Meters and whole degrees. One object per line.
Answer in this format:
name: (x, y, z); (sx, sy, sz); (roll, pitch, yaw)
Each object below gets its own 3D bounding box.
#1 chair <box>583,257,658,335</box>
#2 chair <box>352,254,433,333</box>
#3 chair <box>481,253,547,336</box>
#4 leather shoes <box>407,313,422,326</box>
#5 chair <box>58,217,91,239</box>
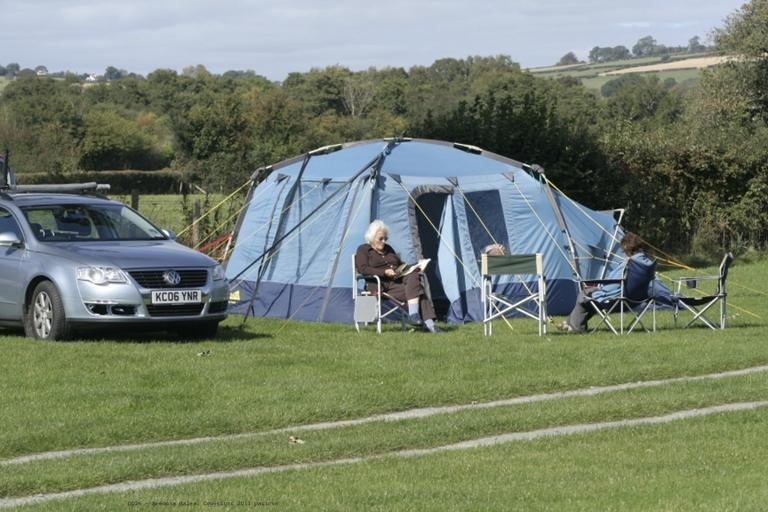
chair: (4.716, 0.819, 29.230); (1.445, 1.532, 1.346); (-4, -2, 34)
chair: (0.220, 0.652, 29.413); (1.689, 1.691, 0.844); (0, 3, 4)
chair: (2.649, 0.757, 29.371); (1.591, 1.522, 1.514); (-2, 1, -14)
leather shoes: (0.641, 1.286, 29.186); (0.240, 0.273, 0.343); (0, 3, -4)
chair: (-5.984, -0.525, 28.544); (0.502, 0.456, 0.447); (-3, -15, -35)
